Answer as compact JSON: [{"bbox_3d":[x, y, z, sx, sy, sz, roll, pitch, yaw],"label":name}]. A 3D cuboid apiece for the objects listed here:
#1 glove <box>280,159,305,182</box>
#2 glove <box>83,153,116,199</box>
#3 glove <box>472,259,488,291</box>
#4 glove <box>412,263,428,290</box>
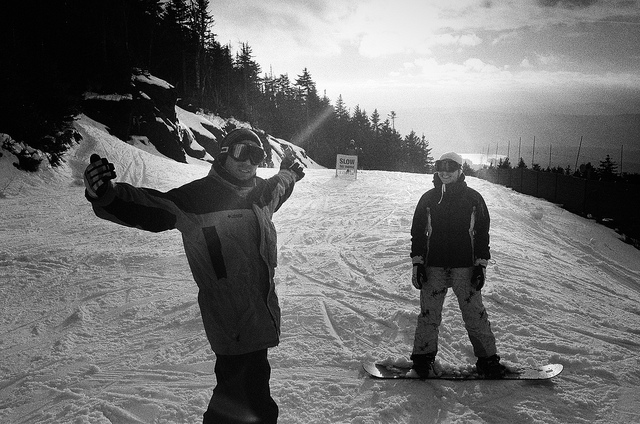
[{"bbox_3d":[-0.557,-0.877,9.548,0.443,0.445,0.142,-44,-5,-20],"label":"glove"},{"bbox_3d":[-3.678,-0.571,7.773,0.555,0.732,0.280,-5,-1,24],"label":"glove"},{"bbox_3d":[3.244,1.248,9.491,0.401,0.549,0.157,4,-6,43],"label":"glove"},{"bbox_3d":[2.021,1.312,9.620,0.333,0.476,0.165,-1,-12,28],"label":"glove"}]
